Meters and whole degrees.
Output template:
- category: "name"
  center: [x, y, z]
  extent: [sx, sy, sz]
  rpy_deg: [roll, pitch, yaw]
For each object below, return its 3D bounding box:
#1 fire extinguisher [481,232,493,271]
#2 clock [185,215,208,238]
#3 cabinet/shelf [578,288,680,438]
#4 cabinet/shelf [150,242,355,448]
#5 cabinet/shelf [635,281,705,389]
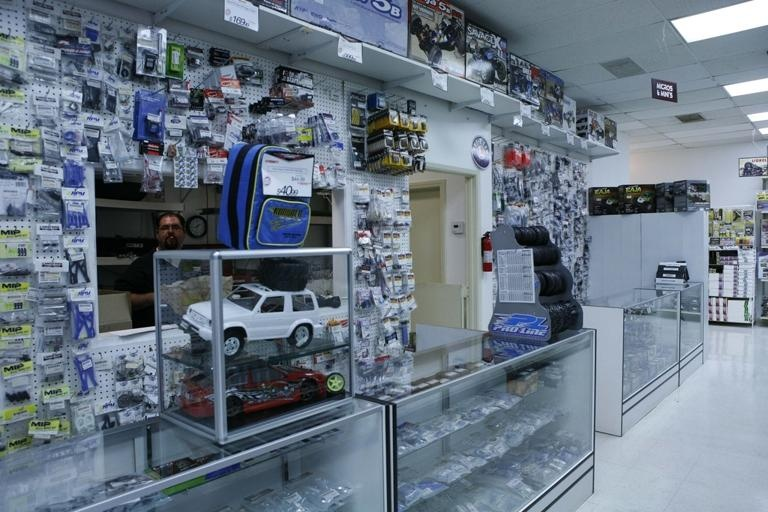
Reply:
- category: "fire extinguisher"
  center: [1.152, -0.035, 5.614]
  extent: [0.125, 0.446, 0.185]
  rpy_deg: [6, 10, 43]
- category: "clock"
  center: [-2.590, -0.417, 7.077]
  extent: [0.311, 0.295, 0.088]
  rpy_deg: [-8, 14, -37]
- category: "cabinet/shelf"
  center: [2.308, 1.039, 4.873]
  extent: [0.380, 0.782, 1.332]
  rpy_deg: [0, 3, 39]
- category: "cabinet/shelf"
  center: [-0.655, 0.403, 2.624]
  extent: [0.521, 0.804, 0.897]
  rpy_deg: [-2, -1, 37]
- category: "cabinet/shelf"
  center: [3.196, 0.908, 5.774]
  extent: [0.590, 1.048, 1.133]
  rpy_deg: [1, 6, 41]
